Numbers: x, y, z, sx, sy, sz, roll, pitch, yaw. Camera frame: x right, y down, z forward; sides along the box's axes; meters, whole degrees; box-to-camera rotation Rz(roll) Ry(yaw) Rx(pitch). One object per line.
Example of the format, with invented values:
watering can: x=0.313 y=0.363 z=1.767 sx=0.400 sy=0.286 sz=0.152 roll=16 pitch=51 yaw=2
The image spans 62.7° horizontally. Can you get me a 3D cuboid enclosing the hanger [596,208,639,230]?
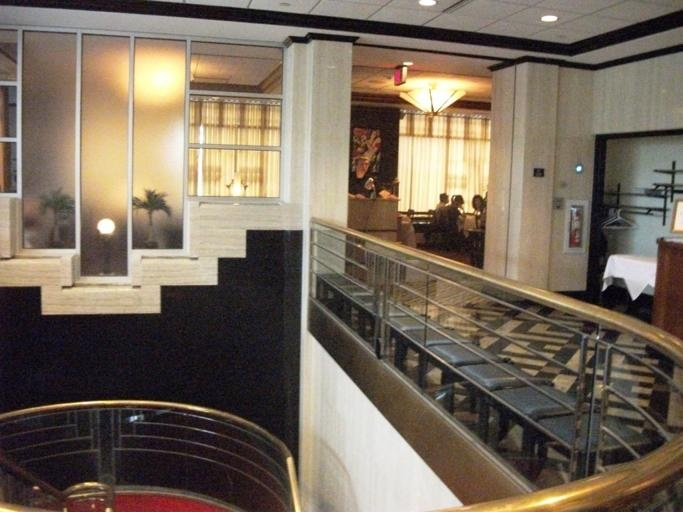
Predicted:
hanger: x=3.705 y=-0.465 z=7.602 sx=0.415 sy=0.163 sz=0.402 roll=4 pitch=11 yaw=27

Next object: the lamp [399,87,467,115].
lamp: x=1.619 y=-2.796 z=10.040 sx=1.007 sy=0.338 sz=0.929 roll=0 pitch=9 yaw=4

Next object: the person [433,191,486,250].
person: x=2.576 y=-0.764 z=11.682 sx=1.346 sy=1.097 sz=1.273 roll=-1 pitch=7 yaw=-18
